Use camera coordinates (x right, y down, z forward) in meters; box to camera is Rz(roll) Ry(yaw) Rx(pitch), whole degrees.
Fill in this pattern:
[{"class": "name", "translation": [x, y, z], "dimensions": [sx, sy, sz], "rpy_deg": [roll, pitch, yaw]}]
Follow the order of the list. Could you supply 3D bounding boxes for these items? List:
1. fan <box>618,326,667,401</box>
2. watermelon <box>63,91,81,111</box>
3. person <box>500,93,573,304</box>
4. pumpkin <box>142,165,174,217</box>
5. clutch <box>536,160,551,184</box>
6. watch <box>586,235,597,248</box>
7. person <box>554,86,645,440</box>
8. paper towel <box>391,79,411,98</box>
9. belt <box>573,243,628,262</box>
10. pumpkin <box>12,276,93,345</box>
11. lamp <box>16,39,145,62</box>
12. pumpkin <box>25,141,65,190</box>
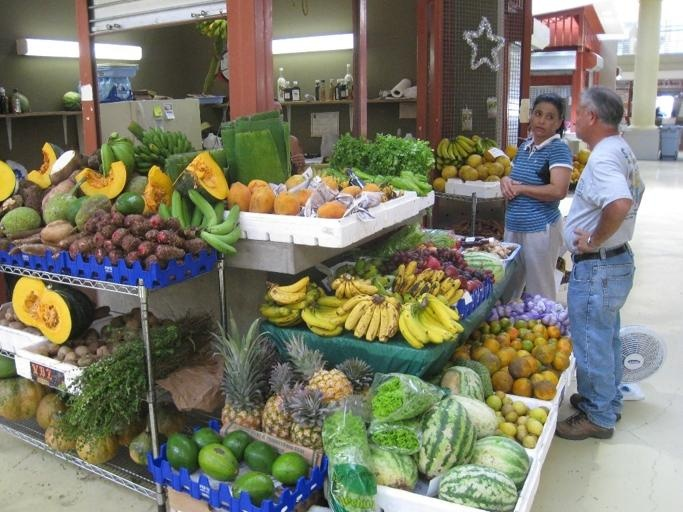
[{"class": "fan", "translation": [2.089, 0.766, 3.804], "dimensions": [0.379, 0.526, 0.214], "rpy_deg": [1, 17, 8]}, {"class": "watermelon", "translation": [-3.472, -1.983, 6.704], "dimensions": [0.212, 0.232, 0.224], "rpy_deg": [14, 29, 26]}, {"class": "person", "translation": [1.623, -0.460, 4.417], "dimensions": [0.514, 1.936, 0.496], "rpy_deg": [15, 21, 38]}, {"class": "pumpkin", "translation": [-1.048, -0.363, 2.980], "dimensions": [0.187, 0.262, 0.094], "rpy_deg": [13, -9, -31]}, {"class": "clutch", "translation": [1.662, -0.683, 4.276], "dimensions": [0.095, 0.180, 0.044], "rpy_deg": [0, 11, 7]}, {"class": "watch", "translation": [1.523, -0.087, 3.183], "dimensions": [0.031, 0.080, 0.055], "rpy_deg": [-8, 13, -31]}, {"class": "person", "translation": [1.694, 0.073, 3.419], "dimensions": [0.435, 2.288, 0.753], "rpy_deg": [1, 12, 26]}, {"class": "paper towel", "translation": [0.787, -2.196, 6.859], "dimensions": [0.268, 0.222, 0.164], "rpy_deg": [-1, 12, 1]}, {"class": "belt", "translation": [1.610, -0.010, 3.265], "dimensions": [0.157, 0.046, 0.165], "rpy_deg": [-20, 11, -40]}, {"class": "pumpkin", "translation": [-1.724, 0.315, 3.278], "dimensions": [0.382, 0.461, 0.372], "rpy_deg": [5, 17, 16]}, {"class": "lamp", "translation": [-3.417, -2.727, 6.894], "dimensions": [0.252, 0.327, 1.759], "rpy_deg": [5, 14, 25]}, {"class": "pumpkin", "translation": [-1.887, -0.536, 3.436], "dimensions": [0.255, 0.377, 0.176], "rpy_deg": [17, 27, 40]}]
